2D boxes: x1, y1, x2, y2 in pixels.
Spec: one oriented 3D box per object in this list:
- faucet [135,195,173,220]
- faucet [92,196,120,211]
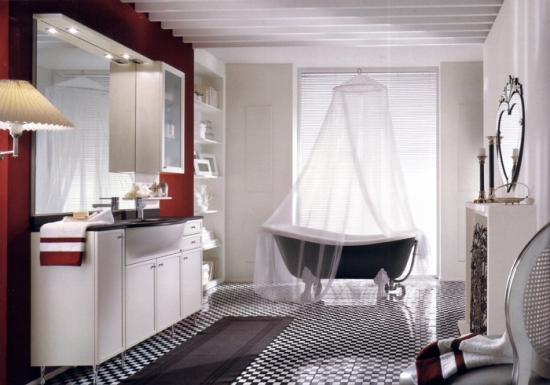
[{"bbox_3d":[-1.249,0.119,4.224,0.189,0.178,0.364,0,-1,0],"label":"faucet"},{"bbox_3d":[-1.544,0.103,3.939,0.103,0.134,0.270,0,-2,15],"label":"faucet"}]
